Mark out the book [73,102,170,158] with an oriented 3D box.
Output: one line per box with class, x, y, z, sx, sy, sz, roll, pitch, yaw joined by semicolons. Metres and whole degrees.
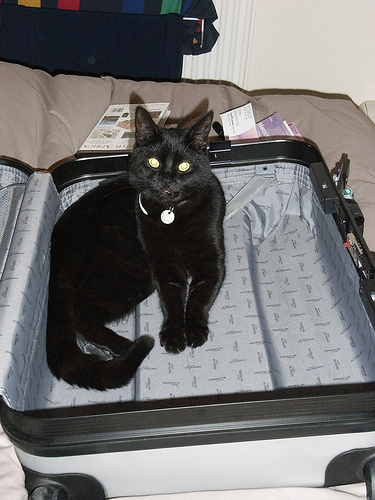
book;-0.213;-0.450;1.469;0.224;0.075;0.324;-9;-10;-29
